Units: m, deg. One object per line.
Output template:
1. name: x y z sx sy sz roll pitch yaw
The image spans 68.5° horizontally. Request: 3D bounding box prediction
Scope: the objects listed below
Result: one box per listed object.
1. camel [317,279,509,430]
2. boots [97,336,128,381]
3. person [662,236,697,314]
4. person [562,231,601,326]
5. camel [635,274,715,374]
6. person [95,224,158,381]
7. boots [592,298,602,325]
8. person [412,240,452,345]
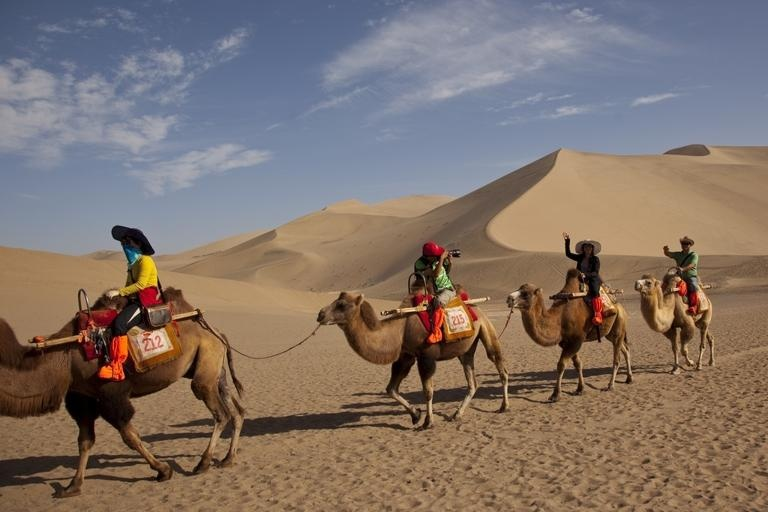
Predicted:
1. camel: 0.440 1.580 10.186 1.837 2.387 3.213 -2 3 -42
2. boots: -3.689 1.428 7.880 0.522 0.542 0.256 3 -12 1
3. person: 6.696 0.428 12.784 0.825 1.500 1.113 4 4 37
4. person: 4.043 0.419 11.344 0.815 1.727 0.671 -6 5 -31
5. camel: 6.682 1.528 12.845 3.453 2.132 0.995 6 -8 -37
6. person: -3.683 0.664 8.150 0.772 2.016 0.858 5 -3 -7
7. boots: 4.149 1.051 10.961 0.157 0.553 0.279 -2 3 27
8. person: 0.751 0.599 10.030 0.754 1.641 0.767 4 -4 12
